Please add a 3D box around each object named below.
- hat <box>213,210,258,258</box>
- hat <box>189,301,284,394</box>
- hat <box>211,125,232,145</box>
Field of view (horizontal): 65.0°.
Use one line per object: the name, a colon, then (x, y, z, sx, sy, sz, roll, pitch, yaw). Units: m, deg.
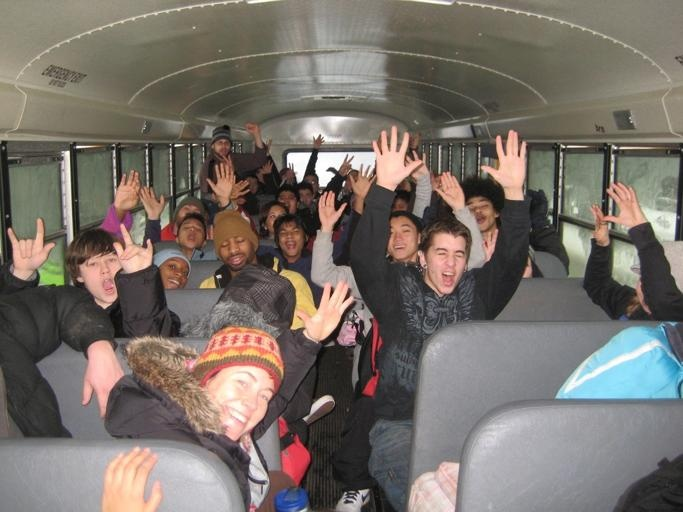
hat: (-1.029, -0.287, 5.000, 0.317, 0.440, 0.367, -25, 23, 1)
hat: (-0.473, 0.381, 2.503, 0.439, 0.367, 0.318, 24, 11, 35)
hat: (-2.259, -2.266, 10.005, 0.340, 0.365, 0.462, -1, 7, -17)
